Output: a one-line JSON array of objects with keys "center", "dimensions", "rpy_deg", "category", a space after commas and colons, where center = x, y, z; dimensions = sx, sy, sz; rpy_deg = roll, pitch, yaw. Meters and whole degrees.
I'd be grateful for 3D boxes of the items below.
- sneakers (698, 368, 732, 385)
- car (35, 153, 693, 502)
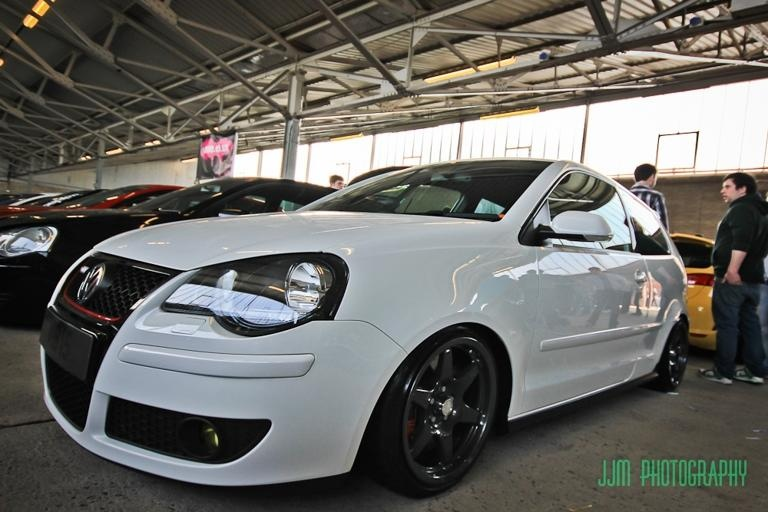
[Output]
[{"center": [3.180, 1.152, 4.249], "dimensions": [0.103, 0.092, 0.258], "rpy_deg": [-5, 12, -36], "category": "sneakers"}, {"center": [0.674, 0.322, 3.724], "dimensions": [5.398, 1.343, 2.600], "rpy_deg": [7, -1, -45], "category": "car"}]
